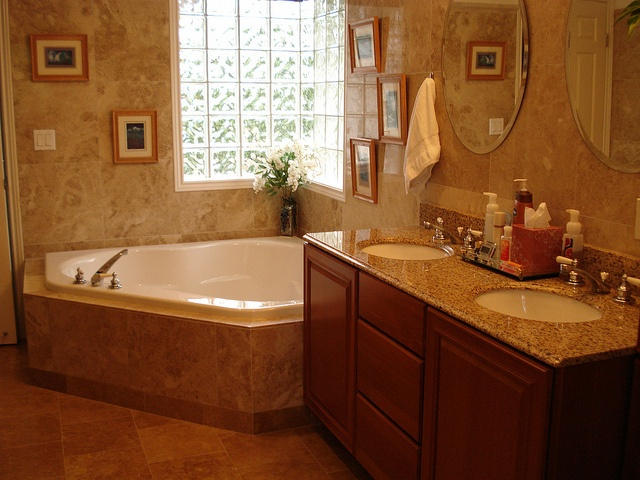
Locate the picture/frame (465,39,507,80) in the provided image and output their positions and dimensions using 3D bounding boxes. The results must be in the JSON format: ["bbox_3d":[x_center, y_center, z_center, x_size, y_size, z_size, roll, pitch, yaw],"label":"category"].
[{"bbox_3d":[0.749,-0.809,2.312,0.031,0.174,0.245,-4,15,-19],"label":"picture/frame"}]

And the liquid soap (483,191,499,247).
[{"bbox_3d":[0.732,-0.112,2.200,0.057,0.188,0.313,5,15,18],"label":"liquid soap"}]

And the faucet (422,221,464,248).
[{"bbox_3d":[0.605,-0.058,2.489,0.182,0.091,0.319,4,14,14],"label":"faucet"}]

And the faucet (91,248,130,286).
[{"bbox_3d":[-1.339,0.182,3.248,0.147,0.181,0.327,0,14,-1],"label":"faucet"}]

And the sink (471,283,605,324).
[{"bbox_3d":[0.836,0.263,1.959,0.470,0.130,0.519,0,-8,39],"label":"sink"}]

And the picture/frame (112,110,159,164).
[{"bbox_3d":[-1.447,-0.808,3.961,0.365,0.478,0.037,-4,12,-28],"label":"picture/frame"}]

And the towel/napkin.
[{"bbox_3d":[0.535,-0.526,2.660,0.149,0.602,0.184,-3,14,-13],"label":"towel/napkin"}]

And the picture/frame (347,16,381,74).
[{"bbox_3d":[0.283,-1.214,3.231,0.040,0.339,0.375,-12,18,-19],"label":"picture/frame"}]

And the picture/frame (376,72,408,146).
[{"bbox_3d":[0.418,-0.763,3.003,0.040,0.407,0.316,-7,14,-17],"label":"picture/frame"}]

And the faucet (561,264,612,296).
[{"bbox_3d":[0.927,0.129,1.787,0.051,0.063,0.165,-13,21,-8],"label":"faucet"}]

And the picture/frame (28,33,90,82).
[{"bbox_3d":[-1.919,-1.332,3.728,0.330,0.306,0.036,-4,7,-21],"label":"picture/frame"}]

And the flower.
[{"bbox_3d":[-0.314,-0.567,4.213,0.427,0.410,0.481,-2,11,9],"label":"flower"}]
